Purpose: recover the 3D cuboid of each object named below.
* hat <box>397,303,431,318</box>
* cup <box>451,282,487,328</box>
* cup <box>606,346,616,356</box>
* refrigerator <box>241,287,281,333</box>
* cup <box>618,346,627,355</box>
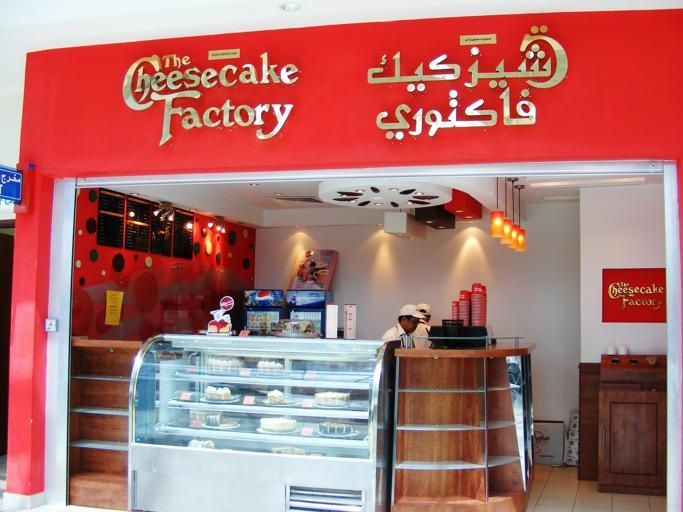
[{"bbox_3d":[0.856,0.676,7.152,0.219,0.120,0.335,4,-5,-43],"label":"hat"},{"bbox_3d":[1.742,0.646,7.985,0.436,0.573,0.426,1,-10,0],"label":"cup"},{"bbox_3d":[3.267,1.144,7.127,0.110,0.118,0.111,0,-4,0],"label":"cup"},{"bbox_3d":[-1.314,0.937,9.820,0.662,0.717,0.249,0,-10,5],"label":"refrigerator"},{"bbox_3d":[3.392,1.134,7.089,0.093,0.100,0.093,0,-3,0],"label":"cup"}]
